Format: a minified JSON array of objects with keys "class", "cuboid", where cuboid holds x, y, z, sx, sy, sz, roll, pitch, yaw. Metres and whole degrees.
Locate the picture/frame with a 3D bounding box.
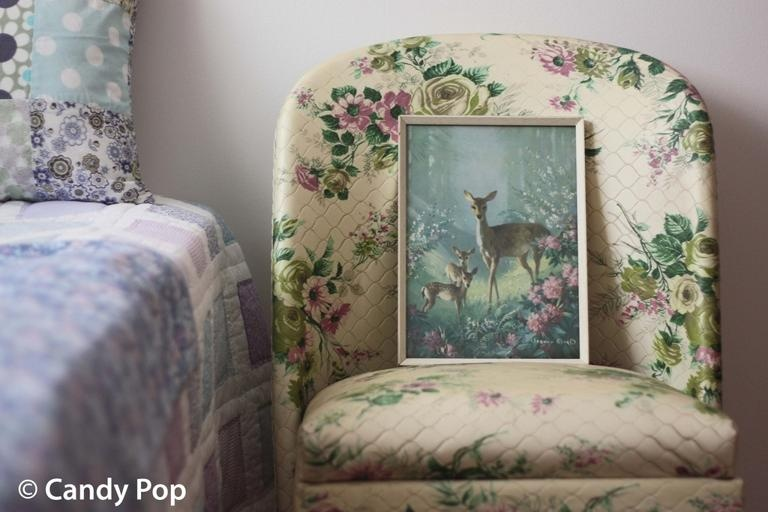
[{"class":"picture/frame","cuboid":[0.249,-0.027,1.676,0.565,0.798,0.035,0,-7,-1]}]
